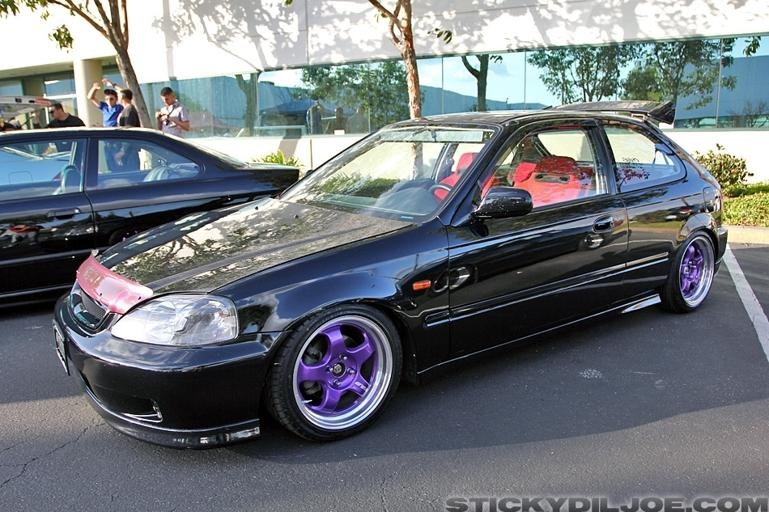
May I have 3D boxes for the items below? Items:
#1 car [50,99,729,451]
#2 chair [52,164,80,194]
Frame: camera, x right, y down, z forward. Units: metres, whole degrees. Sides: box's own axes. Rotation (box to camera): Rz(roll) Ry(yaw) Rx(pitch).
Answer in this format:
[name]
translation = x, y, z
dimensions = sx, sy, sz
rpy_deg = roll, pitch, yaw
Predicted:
[car]
translation = 0.461, -0.196, 4.428
dimensions = 5.505, 1.532, 2.321
rpy_deg = -7, 13, -25
[chair]
translation = -3.243, -0.788, 5.411
dimensions = 0.341, 0.263, 0.318
rpy_deg = 2, 2, -24
